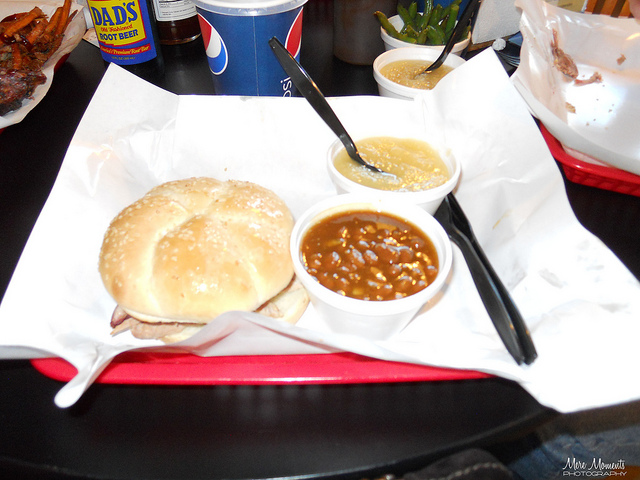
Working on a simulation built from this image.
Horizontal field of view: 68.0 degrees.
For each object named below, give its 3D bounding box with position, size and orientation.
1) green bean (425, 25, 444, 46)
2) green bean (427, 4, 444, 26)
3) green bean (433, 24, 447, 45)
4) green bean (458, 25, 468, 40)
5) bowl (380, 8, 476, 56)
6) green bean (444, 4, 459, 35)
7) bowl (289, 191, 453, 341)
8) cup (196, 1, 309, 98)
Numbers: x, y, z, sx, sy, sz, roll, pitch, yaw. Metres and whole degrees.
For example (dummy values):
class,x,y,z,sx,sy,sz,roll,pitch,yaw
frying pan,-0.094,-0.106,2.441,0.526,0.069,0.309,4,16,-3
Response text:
class,x,y,z,sx,sy,sz,roll,pitch,yaw
green bean,0.596,-1.043,2.470,0.060,0.039,0.120,-34,92,-2
green bean,0.616,-1.179,2.529,0.063,0.026,0.112,21,99,10
green bean,0.633,-1.072,2.503,0.041,0.034,0.171,-17,58,25
green bean,0.734,-1.048,2.434,0.037,0.050,0.055,3,87,5
bowl,0.571,-1.099,2.518,0.379,0.146,0.392,-3,54,5
green bean,0.691,-1.149,2.487,0.042,0.167,0.036,3,23,-27
bowl,0.170,0.089,1.743,0.553,0.271,0.519,1,55,-2
cup,-0.257,-0.839,2.147,0.442,0.348,0.443,2,47,-2
